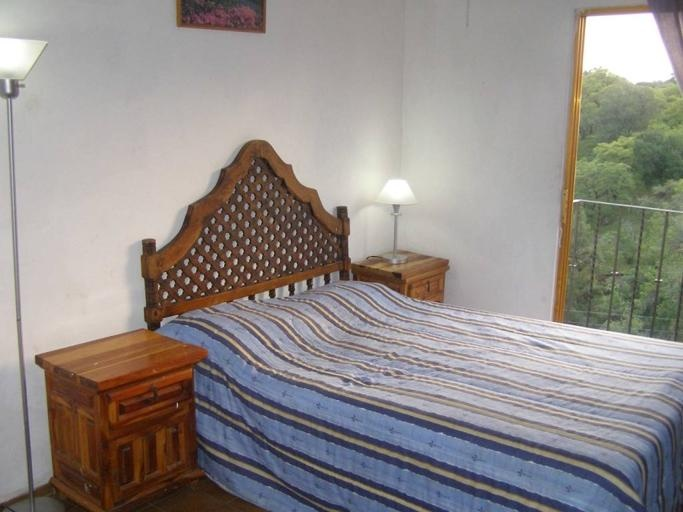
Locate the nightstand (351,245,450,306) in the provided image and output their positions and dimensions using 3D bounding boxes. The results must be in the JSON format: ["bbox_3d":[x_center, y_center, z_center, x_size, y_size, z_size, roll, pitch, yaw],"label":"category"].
[{"bbox_3d":[0.483,0.013,4.263,0.394,0.576,0.550,10,17,34],"label":"nightstand"}]
